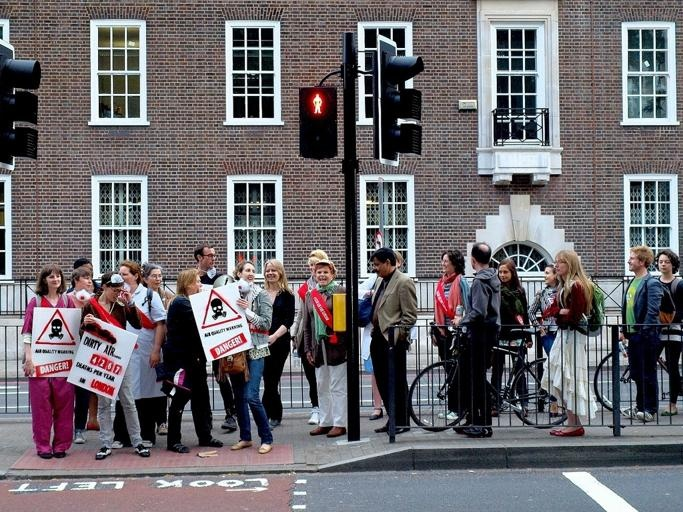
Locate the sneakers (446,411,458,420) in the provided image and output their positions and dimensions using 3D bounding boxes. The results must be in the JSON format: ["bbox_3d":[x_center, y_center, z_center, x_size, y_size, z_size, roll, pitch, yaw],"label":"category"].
[{"bbox_3d":[1.780,2.540,22.308,0.219,0.153,0.078,-4,2,21],"label":"sneakers"}]

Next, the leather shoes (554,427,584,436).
[{"bbox_3d":[3.677,2.833,22.374,0.332,0.091,0.194,2,-4,7],"label":"leather shoes"}]

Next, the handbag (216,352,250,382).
[{"bbox_3d":[-1.728,1.718,22.076,0.470,0.504,0.197,-1,-9,4],"label":"handbag"}]

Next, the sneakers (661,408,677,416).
[{"bbox_3d":[5.581,2.613,23.470,0.336,0.136,0.115,1,-2,-3],"label":"sneakers"}]

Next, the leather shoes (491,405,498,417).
[{"bbox_3d":[2.532,2.526,22.701,0.159,0.152,0.117,-1,2,-11],"label":"leather shoes"}]

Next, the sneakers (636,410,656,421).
[{"bbox_3d":[5.076,2.612,22.909,0.264,0.122,0.160,6,-7,-10],"label":"sneakers"}]

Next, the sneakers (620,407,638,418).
[{"bbox_3d":[4.815,2.582,23.046,0.240,0.085,0.147,3,-19,-39],"label":"sneakers"}]

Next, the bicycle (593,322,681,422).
[{"bbox_3d":[5.178,2.016,23.403,1.931,1.225,0.970,2,-5,-2],"label":"bicycle"}]

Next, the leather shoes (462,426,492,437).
[{"bbox_3d":[2.185,2.811,22.337,0.457,0.162,0.227,-3,-3,13],"label":"leather shoes"}]

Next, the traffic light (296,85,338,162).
[{"bbox_3d":[-0.370,-2.182,22.282,0.642,1.252,0.141,-1,-8,1],"label":"traffic light"}]

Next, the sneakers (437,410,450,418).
[{"bbox_3d":[1.661,2.542,22.377,0.155,0.093,0.047,-6,7,42],"label":"sneakers"}]

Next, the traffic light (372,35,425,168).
[{"bbox_3d":[0.906,-2.553,22.183,0.804,2.135,0.457,-2,-3,-1],"label":"traffic light"}]
